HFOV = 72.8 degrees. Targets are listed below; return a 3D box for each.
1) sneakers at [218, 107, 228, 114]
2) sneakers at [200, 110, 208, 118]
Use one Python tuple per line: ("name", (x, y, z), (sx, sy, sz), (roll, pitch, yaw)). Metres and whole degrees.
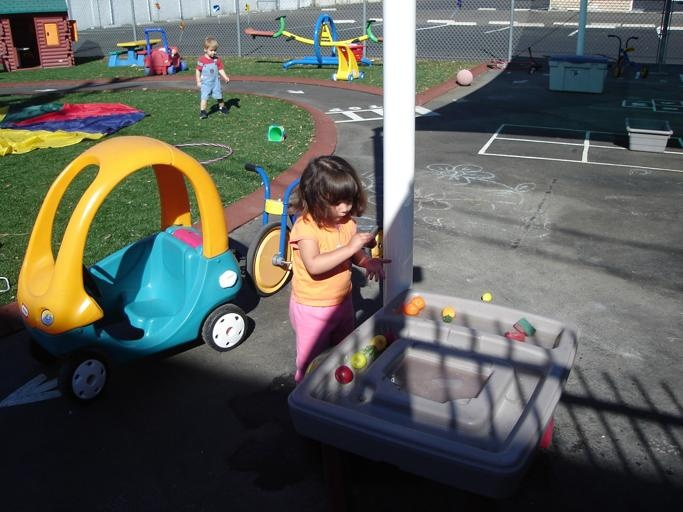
("sneakers", (-3.296, -3.989, 12.912), (0.177, 0.110, 0.295), (-4, 26, -15))
("sneakers", (-3.702, -3.735, 12.308), (0.212, 0.211, 0.417), (-9, 28, -16))
